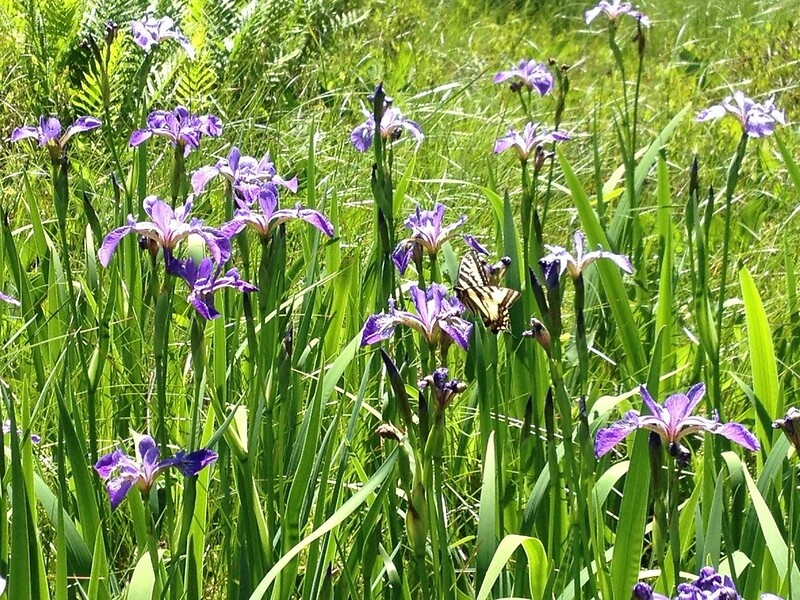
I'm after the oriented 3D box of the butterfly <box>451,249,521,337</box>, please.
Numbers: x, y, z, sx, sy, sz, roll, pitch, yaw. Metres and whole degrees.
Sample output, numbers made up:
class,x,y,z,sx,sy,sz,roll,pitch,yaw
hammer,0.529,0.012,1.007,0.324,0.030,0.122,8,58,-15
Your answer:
class,x,y,z,sx,sy,sz,roll,pitch,yaw
butterfly,0.251,-0.027,2.805,0.179,0.235,0.335,-2,4,4

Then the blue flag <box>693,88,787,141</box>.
class,x,y,z,sx,sy,sz,roll,pitch,yaw
blue flag,1.252,-0.676,3.403,0.227,0.145,0.285,-4,18,2

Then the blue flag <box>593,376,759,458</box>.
class,x,y,z,sx,sy,sz,roll,pitch,yaw
blue flag,0.704,0.314,2.485,0.399,0.218,0.234,-3,4,-2
